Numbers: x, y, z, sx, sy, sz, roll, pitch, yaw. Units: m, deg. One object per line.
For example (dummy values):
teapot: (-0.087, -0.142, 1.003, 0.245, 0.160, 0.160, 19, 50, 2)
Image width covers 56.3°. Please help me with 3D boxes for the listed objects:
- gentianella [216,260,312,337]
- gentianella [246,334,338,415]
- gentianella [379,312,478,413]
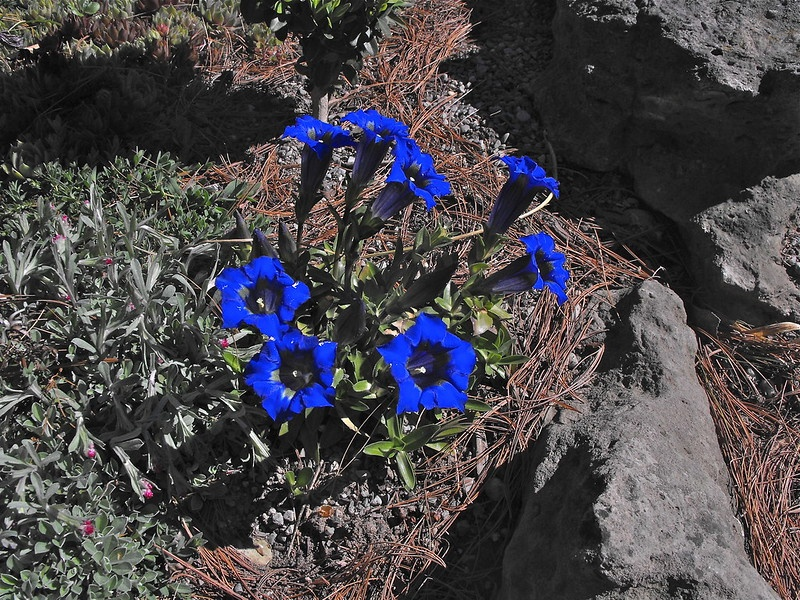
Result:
gentianella: (-0.584, -0.022, 3.120, 0.343, 0.343, 0.167, 13, -14, -21)
gentianella: (-0.440, 0.295, 3.010, 0.353, 0.292, 0.223, 7, 28, -12)
gentianella: (0.115, 0.263, 3.070, 0.403, 0.405, 0.183, 17, -20, -23)
